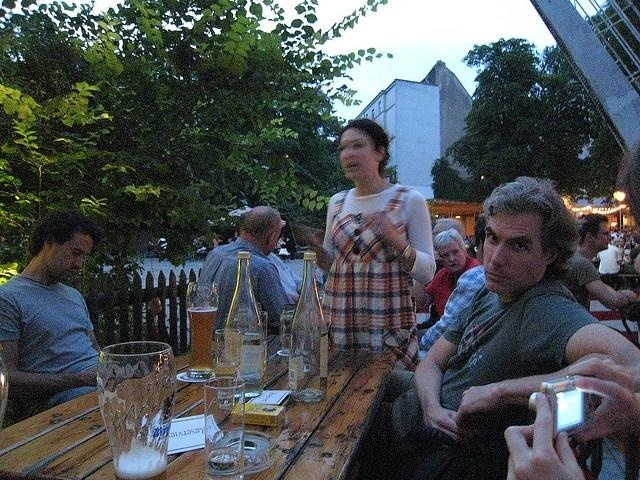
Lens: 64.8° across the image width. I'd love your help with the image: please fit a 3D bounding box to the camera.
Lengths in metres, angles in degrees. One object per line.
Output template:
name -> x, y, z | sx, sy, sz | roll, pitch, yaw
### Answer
camera -> 0.782, 0.549, 1.669 | 0.164, 0.162, 0.123 | 1, -7, -27
